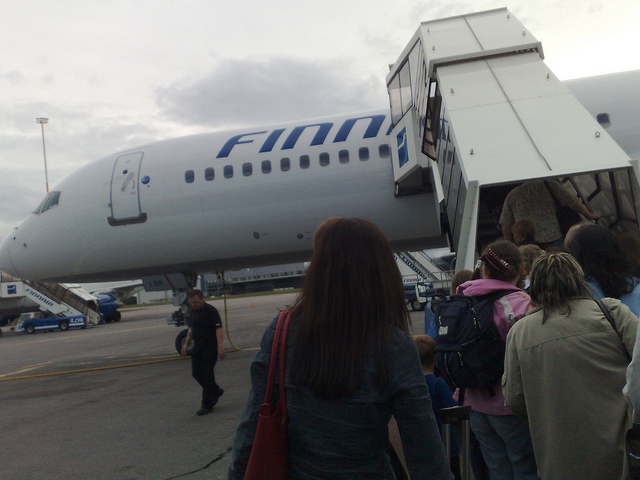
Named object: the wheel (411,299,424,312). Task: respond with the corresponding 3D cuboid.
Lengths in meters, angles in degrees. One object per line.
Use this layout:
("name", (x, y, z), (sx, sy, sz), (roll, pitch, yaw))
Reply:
("wheel", (3.384, 2.212, 19.490), (0.526, 0.495, 0.181), (-2, -4, -5))

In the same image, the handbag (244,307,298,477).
("handbag", (-0.301, 0.956, 3.558), (0.394, 1.025, 0.118), (-3, -3, -15))

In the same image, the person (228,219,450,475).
("person", (0.101, 0.666, 3.575), (1.256, 1.596, 0.369), (-3, -3, -8))

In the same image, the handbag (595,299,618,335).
("handbag", (2.097, 0.544, 4.132), (0.045, 0.174, 0.132), (-23, 12, -12))

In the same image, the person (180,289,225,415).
("person", (-1.667, 1.599, 8.401), (0.465, 1.713, 0.759), (-3, -3, -13))

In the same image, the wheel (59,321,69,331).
("wheel", (-11.544, 3.824, 25.541), (0.543, 0.511, 0.199), (-2, -4, 1))

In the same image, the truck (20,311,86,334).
("truck", (-11.881, 3.687, 25.558), (2.420, 0.547, 1.201), (-6, -8, 6))
